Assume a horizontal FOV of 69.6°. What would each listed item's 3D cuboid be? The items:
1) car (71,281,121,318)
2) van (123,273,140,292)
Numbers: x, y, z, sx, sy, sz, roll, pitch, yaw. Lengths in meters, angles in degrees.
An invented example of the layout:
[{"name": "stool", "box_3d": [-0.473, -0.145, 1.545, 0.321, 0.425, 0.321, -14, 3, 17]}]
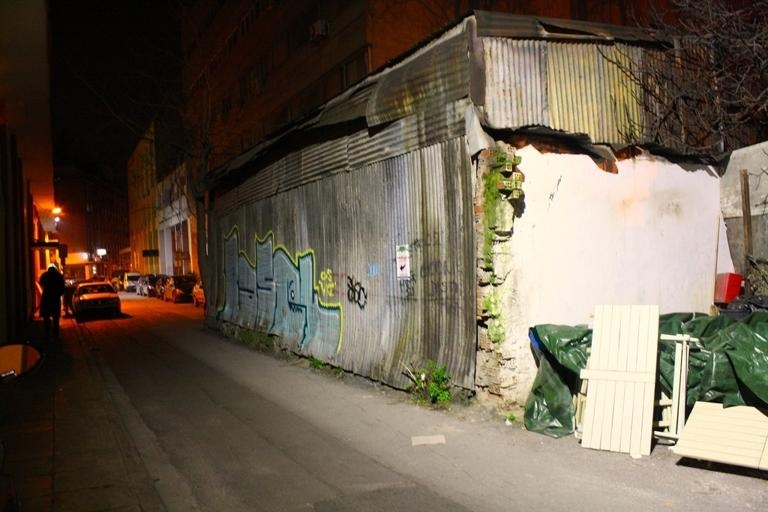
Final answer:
[{"name": "car", "box_3d": [-14.498, 2.365, 27.912, 1.340, 1.224, 3.355, -2, 9, -21]}, {"name": "van", "box_3d": [-25.026, 2.563, 54.311, 1.583, 1.710, 2.944, 0, -9, -23]}]
